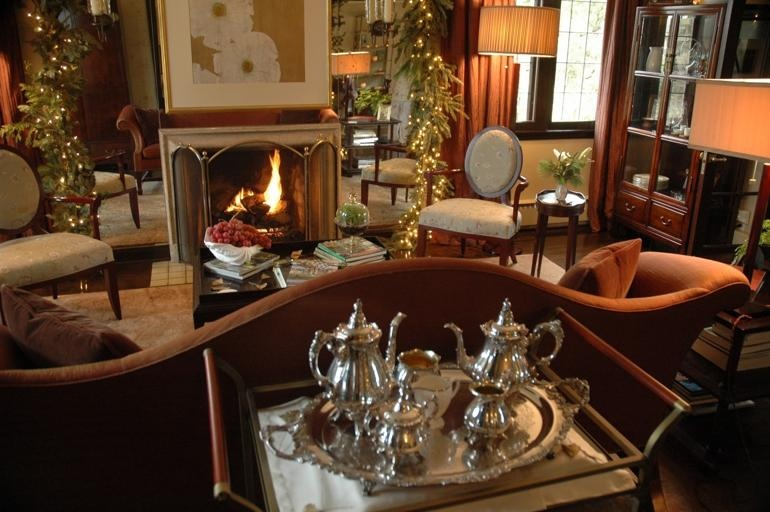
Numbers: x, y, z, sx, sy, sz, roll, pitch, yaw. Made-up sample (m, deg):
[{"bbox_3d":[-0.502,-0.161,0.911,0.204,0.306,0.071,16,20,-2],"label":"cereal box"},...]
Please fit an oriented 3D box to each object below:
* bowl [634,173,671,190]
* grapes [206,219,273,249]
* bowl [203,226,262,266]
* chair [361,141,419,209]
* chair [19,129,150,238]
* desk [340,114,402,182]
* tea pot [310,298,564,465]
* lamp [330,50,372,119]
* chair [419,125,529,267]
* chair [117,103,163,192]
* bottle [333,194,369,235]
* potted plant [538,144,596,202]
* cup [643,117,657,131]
[{"bbox_3d":[2.387,-0.656,4.813,0.167,0.069,0.171,-2,22,1],"label":"bowl"},{"bbox_3d":[-0.888,-0.140,3.171,0.239,0.132,0.217,30,29,32],"label":"grapes"},{"bbox_3d":[-0.887,-0.029,3.105,0.247,0.109,0.237,7,30,-4],"label":"bowl"},{"bbox_3d":[0.098,-0.832,5.280,0.598,0.636,0.611,5,24,-8],"label":"chair"},{"bbox_3d":[-2.714,-0.700,4.802,0.750,0.999,0.792,10,29,23],"label":"chair"},{"bbox_3d":[-0.116,-1.004,5.016,0.536,0.498,0.393,-4,20,-7],"label":"desk"},{"bbox_3d":[0.170,0.343,1.686,0.787,0.433,0.393,-5,18,-10],"label":"tea pot"},{"bbox_3d":[-0.286,-1.522,4.614,0.344,0.679,0.339,16,32,21],"label":"lamp"},{"bbox_3d":[0.723,-0.441,4.331,0.831,1.131,0.777,3,20,1],"label":"chair"},{"bbox_3d":[-2.199,-1.039,5.196,0.631,0.749,0.517,-4,15,-30],"label":"chair"},{"bbox_3d":[-0.202,-0.258,3.407,0.223,0.285,0.228,1,20,0],"label":"bottle"},{"bbox_3d":[1.404,-0.633,4.222,0.347,0.377,0.338,-1,7,-43],"label":"potted plant"},{"bbox_3d":[2.340,-1.164,4.763,0.105,0.088,0.108,-1,29,1],"label":"cup"}]
